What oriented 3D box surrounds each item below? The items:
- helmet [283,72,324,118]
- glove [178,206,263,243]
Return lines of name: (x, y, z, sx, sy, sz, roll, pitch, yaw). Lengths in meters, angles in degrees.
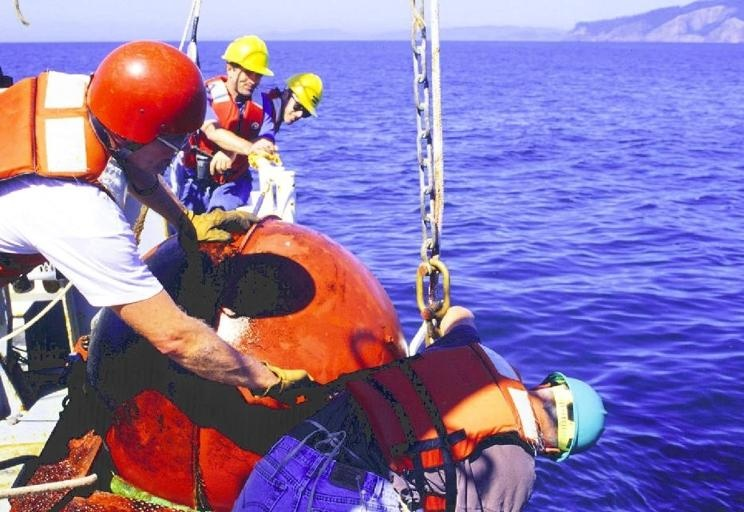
helmet: (-0.618, -1.654, 8.784, 0.452, 0.297, 0.368, 50, 16, 18)
glove: (-0.904, -0.189, 5.094, 0.364, 0.150, 0.205, 0, 24, -1)
